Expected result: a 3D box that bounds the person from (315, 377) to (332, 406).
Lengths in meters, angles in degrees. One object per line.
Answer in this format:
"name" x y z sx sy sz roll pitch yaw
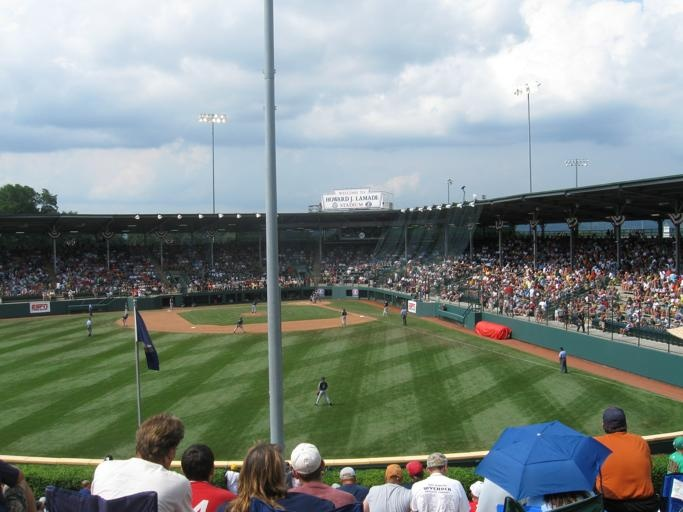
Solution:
"person" -0.868 6.824 44.661 0.970 0.752 1.765 6 -43 3
